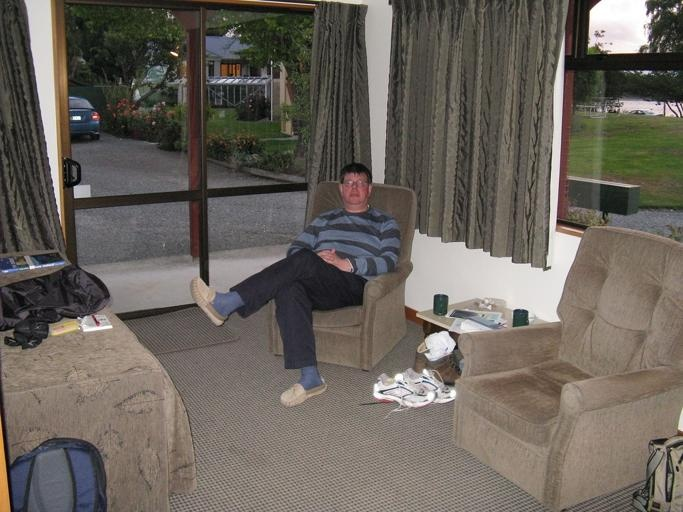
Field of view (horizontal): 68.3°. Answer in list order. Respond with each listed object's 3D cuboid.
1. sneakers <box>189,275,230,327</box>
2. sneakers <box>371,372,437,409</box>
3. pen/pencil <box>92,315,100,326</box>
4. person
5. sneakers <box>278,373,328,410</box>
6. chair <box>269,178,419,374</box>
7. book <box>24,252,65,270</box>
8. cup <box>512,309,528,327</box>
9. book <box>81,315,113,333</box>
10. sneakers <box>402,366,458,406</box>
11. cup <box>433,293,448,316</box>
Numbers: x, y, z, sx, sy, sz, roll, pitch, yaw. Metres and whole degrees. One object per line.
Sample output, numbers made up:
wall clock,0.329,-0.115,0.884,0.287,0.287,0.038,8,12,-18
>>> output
sneakers,-0.822,0.275,3.127,0.127,0.360,0.138,-31,28,-12
sneakers,0.393,0.783,3.043,0.380,0.183,0.164,1,13,19
pen/pencil,-1.070,0.265,2.188,0.023,0.019,0.123,-8,24,-27
person,-0.172,0.106,3.342,0.732,1.337,1.410,11,20,38
sneakers,-0.234,0.824,3.068,0.276,0.105,0.114,-16,15,-34
chair,0.030,0.082,3.629,0.981,1.114,1.041,12,21,36
book,-1.699,0.021,2.872,0.189,0.027,0.321,-12,18,-34
cup,1.083,0.371,3.051,0.120,0.121,0.097,3,-2,-6
book,-1.071,0.292,2.181,0.081,0.022,0.089,-1,18,-20
sneakers,0.524,0.778,3.008,0.264,0.125,0.181,0,18,3
cup,0.667,0.333,3.382,0.118,0.136,0.117,3,2,0
